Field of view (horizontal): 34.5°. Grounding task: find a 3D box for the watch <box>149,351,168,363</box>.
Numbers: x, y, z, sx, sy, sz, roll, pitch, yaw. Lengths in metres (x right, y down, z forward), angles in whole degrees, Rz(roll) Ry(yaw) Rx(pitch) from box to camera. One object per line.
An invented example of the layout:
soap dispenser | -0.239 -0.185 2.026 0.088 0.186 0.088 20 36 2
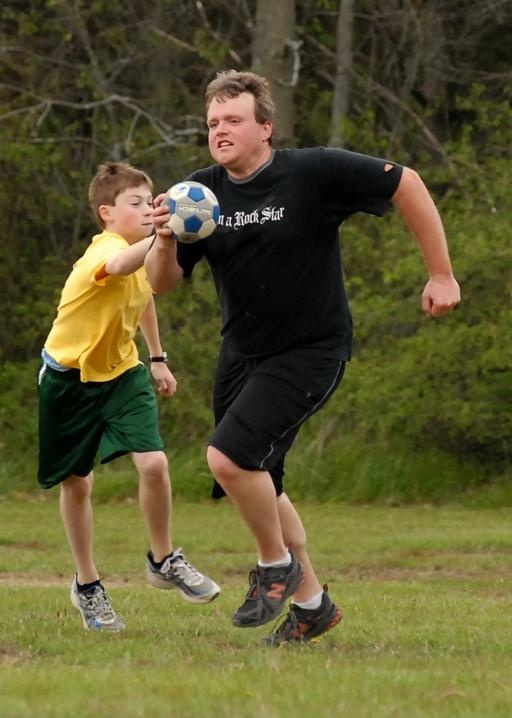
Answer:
watch | -0.473 -0.008 3.961 0.070 0.032 0.063 -6 0 27

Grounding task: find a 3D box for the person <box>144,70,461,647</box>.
person | 0.160 -0.097 2.786 0.978 1.959 0.564 -7 -9 8

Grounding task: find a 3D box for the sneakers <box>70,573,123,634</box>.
sneakers | -0.685 1.050 3.500 0.122 0.108 0.314 -15 29 -35

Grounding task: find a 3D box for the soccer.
soccer | -0.213 -0.495 2.657 0.136 0.229 0.154 -12 -10 34
